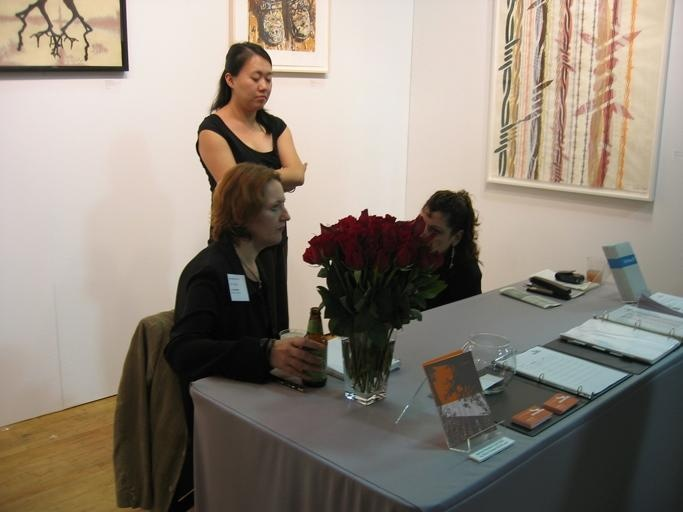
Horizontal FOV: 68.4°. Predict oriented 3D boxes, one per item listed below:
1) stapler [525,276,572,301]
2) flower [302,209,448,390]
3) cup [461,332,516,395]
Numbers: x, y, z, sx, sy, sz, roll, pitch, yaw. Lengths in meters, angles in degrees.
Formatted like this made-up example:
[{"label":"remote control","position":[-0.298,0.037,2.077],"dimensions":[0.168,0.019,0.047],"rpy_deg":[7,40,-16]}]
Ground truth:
[{"label":"stapler","position":[1.037,0.145,2.586],"dimensions":[0.075,0.081,0.289],"rpy_deg":[-20,27,-21]},{"label":"flower","position":[0.051,0.086,1.615],"dimensions":[0.404,0.488,0.460],"rpy_deg":[-2,7,-18]},{"label":"cup","position":[0.465,0.330,1.632],"dimensions":[0.185,0.166,0.173],"rpy_deg":[0,3,0]}]
